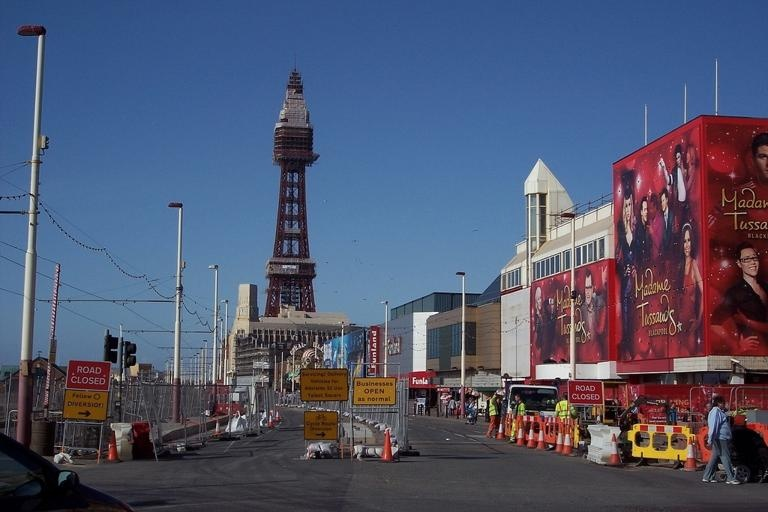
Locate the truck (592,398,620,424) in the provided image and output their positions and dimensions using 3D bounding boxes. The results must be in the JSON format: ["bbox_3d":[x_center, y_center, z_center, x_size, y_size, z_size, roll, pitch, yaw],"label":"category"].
[{"bbox_3d":[10.716,7.595,48.731,1.181,1.363,2.057,-5,-6,43],"label":"truck"}]

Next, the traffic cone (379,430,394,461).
[{"bbox_3d":[0.107,6.969,37.010,0.442,1.268,0.944,1,-15,0],"label":"traffic cone"}]

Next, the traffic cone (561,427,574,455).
[{"bbox_3d":[7.483,7.588,41.051,0.418,1.088,0.663,-2,-15,9],"label":"traffic cone"}]

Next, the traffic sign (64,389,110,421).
[{"bbox_3d":[-10.656,5.287,36.264,1.903,1.303,0.189,0,-8,20],"label":"traffic sign"}]

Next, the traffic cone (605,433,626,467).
[{"bbox_3d":[8.480,7.140,37.060,0.535,1.229,0.685,-3,-16,11],"label":"traffic cone"}]

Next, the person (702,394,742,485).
[{"bbox_3d":[10.964,5.933,32.708,1.163,2.600,1.213,5,-7,-25],"label":"person"}]

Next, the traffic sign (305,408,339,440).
[{"bbox_3d":[-2.288,6.216,36.990,1.248,1.036,0.622,2,-15,-6],"label":"traffic sign"}]
